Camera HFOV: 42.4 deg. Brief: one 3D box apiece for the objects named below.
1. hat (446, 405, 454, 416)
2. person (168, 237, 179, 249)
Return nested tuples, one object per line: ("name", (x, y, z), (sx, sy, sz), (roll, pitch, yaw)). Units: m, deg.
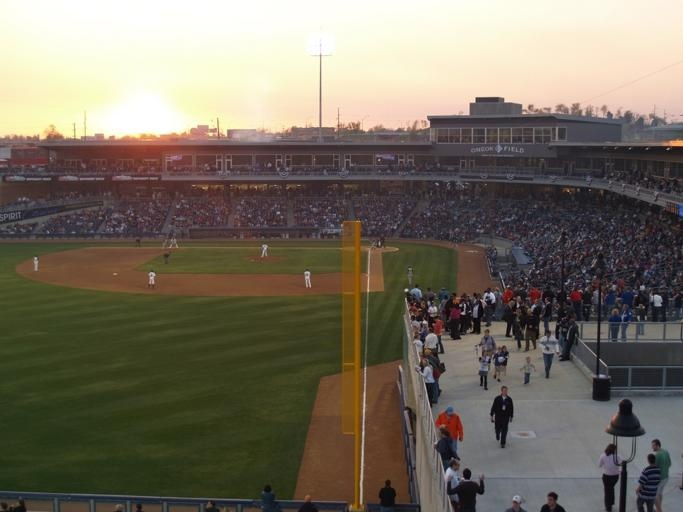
("hat", (3.066, 4.406, 25.066), (0.209, 0.343, 0.538), (0, 10, 8))
("person", (-14.514, -1.105, 76.003), (0.652, 0.791, 2.194), (0, 1, -4))
